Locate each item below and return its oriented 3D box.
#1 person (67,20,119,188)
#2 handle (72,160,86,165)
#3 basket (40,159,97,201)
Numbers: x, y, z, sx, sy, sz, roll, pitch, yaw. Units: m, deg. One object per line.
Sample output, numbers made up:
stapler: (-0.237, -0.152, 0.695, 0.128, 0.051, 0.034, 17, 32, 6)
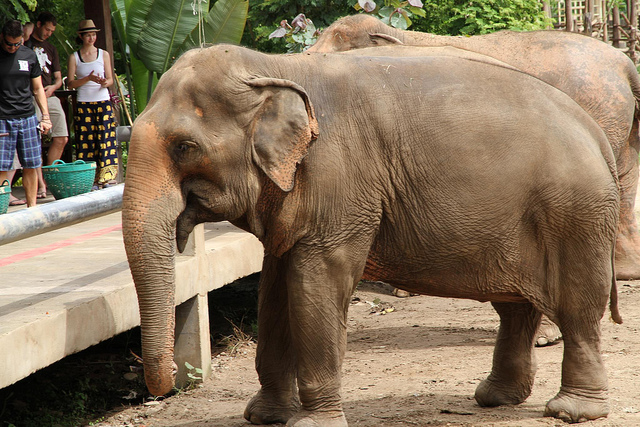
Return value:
person: (-2.451, -1.179, 8.324, 0.480, 1.753, 0.447, -8, 7, -16)
handle: (-2.330, -0.493, 7.478, 0.075, 0.036, 0.067, -1, -17, -2)
basket: (-2.444, -0.354, 7.517, 0.561, 0.343, 0.489, -9, 7, -29)
